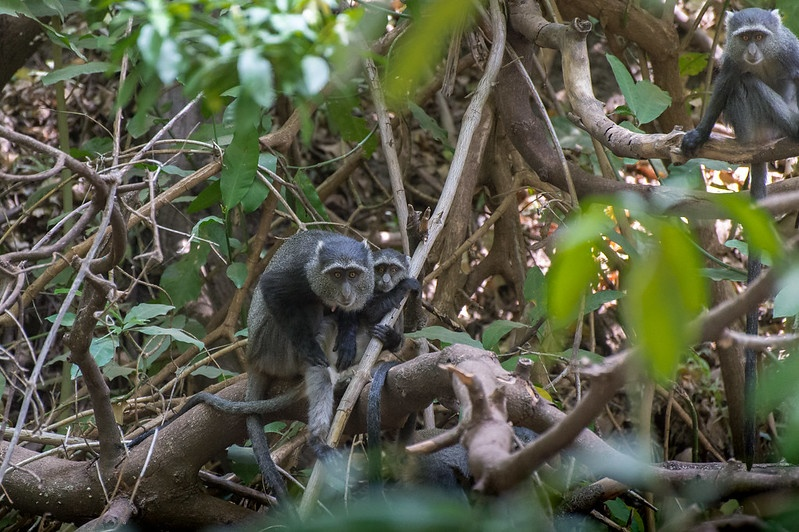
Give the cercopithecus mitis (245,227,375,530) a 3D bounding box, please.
[{"bbox_3d":[-0.560,0.485,5.377,0.606,2.093,0.748,14,3,-27],"label":"cercopithecus mitis"}]
